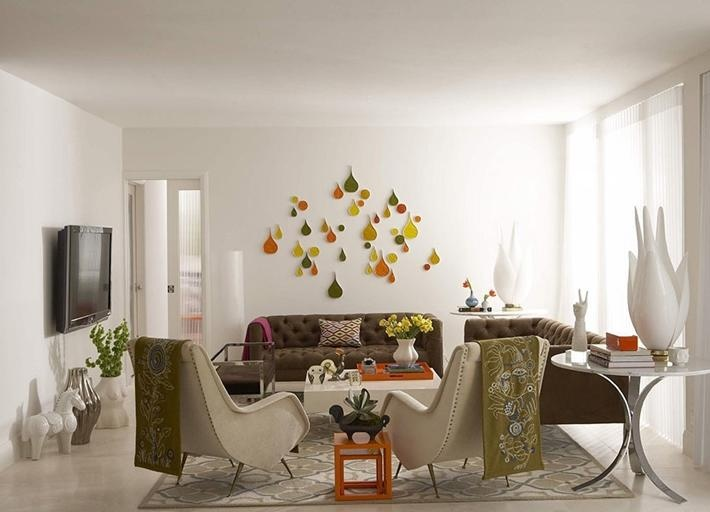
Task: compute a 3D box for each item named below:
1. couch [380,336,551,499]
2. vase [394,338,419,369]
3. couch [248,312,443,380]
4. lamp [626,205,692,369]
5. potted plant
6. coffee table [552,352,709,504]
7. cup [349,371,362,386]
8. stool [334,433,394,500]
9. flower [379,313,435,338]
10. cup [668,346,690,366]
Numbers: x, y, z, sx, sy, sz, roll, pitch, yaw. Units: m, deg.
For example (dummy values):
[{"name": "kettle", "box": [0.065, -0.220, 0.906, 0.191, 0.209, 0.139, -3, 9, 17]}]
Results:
[{"name": "couch", "box": [0.870, 1.309, 4.545, 1.018, 1.290, 1.265, 1, -5, -28]}, {"name": "vase", "box": [0.556, 1.036, 5.672, 0.267, 0.303, 0.300, -1, 1, 7]}, {"name": "couch", "box": [-0.080, 1.276, 6.890, 2.425, 1.003, 0.941, -1, -2, -3]}, {"name": "lamp", "box": [2.455, 0.210, 4.259, 0.446, 1.218, 0.428, 1, 5, 16]}, {"name": "potted plant", "box": [-2.689, 1.274, 5.783, 0.414, 1.158, 0.567, -3, 6, -28]}, {"name": "coffee table", "box": [2.149, 1.408, 4.421, 1.099, 1.040, 1.215, 0, -6, 2]}, {"name": "cup", "box": [0.011, 1.260, 5.492, 0.119, 0.122, 0.123, 1, 3, 0]}, {"name": "stool", "box": [0.075, 1.667, 4.368, 0.459, 0.488, 0.484, 1, -2, 1]}, {"name": "flower", "box": [0.555, 0.749, 5.652, 0.478, 0.289, 0.471, -4, -5, 7]}, {"name": "cup", "box": [2.531, 0.780, 4.155, 0.103, 0.110, 0.147, 0, -6, 4]}]
